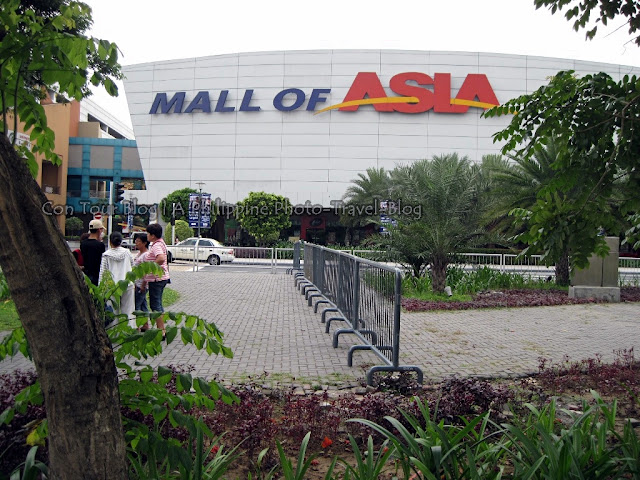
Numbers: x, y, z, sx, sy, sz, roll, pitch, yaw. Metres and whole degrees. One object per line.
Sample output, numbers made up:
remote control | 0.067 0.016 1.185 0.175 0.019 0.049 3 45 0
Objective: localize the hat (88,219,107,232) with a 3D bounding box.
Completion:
hat | -3.556 -0.222 8.702 0.212 0.180 0.324 3 21 -2

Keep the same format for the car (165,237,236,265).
car | -6.247 0.582 28.959 3.336 1.267 1.534 4 -1 -6

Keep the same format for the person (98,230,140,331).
person | -3.093 0.603 8.390 0.500 1.600 0.443 -8 26 -31
